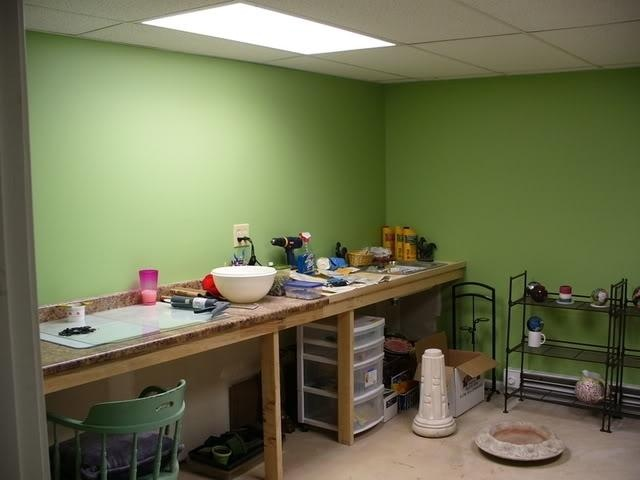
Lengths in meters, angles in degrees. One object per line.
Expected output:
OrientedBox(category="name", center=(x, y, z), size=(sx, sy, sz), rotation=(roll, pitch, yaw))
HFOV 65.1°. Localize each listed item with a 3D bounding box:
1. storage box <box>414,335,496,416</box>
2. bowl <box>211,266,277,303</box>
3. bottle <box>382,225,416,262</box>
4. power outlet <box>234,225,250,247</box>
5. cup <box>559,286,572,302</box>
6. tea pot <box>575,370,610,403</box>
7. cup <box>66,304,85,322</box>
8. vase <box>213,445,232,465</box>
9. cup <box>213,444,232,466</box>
OrientedBox(category="storage box", center=(1.105, 1.091, 4.064), size=(0.511, 0.533, 0.573), rotation=(-4, 3, -38))
OrientedBox(category="bowl", center=(-0.465, 0.287, 3.096), size=(0.401, 0.208, 0.421), rotation=(1, 5, 0))
OrientedBox(category="bottle", center=(0.765, 0.039, 4.696), size=(0.237, 0.297, 0.372), rotation=(-8, 12, -37))
OrientedBox(category="power outlet", center=(-0.557, -0.025, 3.541), size=(0.015, 0.145, 0.146), rotation=(5, 7, 35))
OrientedBox(category="cup", center=(1.919, 0.436, 3.988), size=(0.107, 0.127, 0.110), rotation=(0, 0, 0))
OrientedBox(category="tea pot", center=(2.058, 1.156, 3.823), size=(0.227, 0.233, 0.230), rotation=(5, -12, 1))
OrientedBox(category="cup", center=(-1.283, 0.385, 2.640), size=(0.082, 0.064, 0.081), rotation=(0, -1, 0))
OrientedBox(category="vase", center=(-0.622, 1.353, 3.159), size=(0.086, 0.071, 0.088), rotation=(2, -2, 3))
OrientedBox(category="cup", center=(-0.623, 1.352, 3.162), size=(0.091, 0.070, 0.093), rotation=(2, -1, 0))
